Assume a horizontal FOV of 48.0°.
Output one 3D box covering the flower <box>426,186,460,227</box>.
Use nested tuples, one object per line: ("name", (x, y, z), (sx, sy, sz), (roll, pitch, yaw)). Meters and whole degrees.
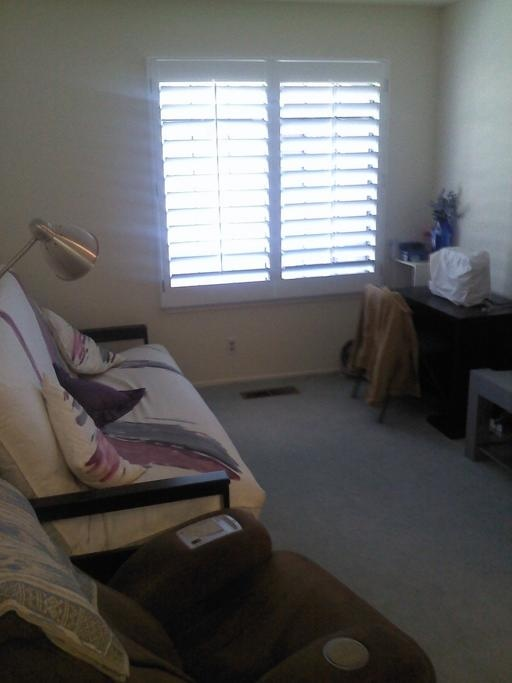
("flower", (0.989, -0.705, 3.001), (0.148, 0.202, 0.080), (5, 1, 25))

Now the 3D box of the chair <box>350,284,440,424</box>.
("chair", (0.588, 0.027, 2.563), (0.264, 0.524, 0.406), (-7, 20, -10))

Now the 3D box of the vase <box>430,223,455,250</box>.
("vase", (0.978, -0.548, 3.015), (0.104, 0.153, 0.089), (1, 17, 13))
